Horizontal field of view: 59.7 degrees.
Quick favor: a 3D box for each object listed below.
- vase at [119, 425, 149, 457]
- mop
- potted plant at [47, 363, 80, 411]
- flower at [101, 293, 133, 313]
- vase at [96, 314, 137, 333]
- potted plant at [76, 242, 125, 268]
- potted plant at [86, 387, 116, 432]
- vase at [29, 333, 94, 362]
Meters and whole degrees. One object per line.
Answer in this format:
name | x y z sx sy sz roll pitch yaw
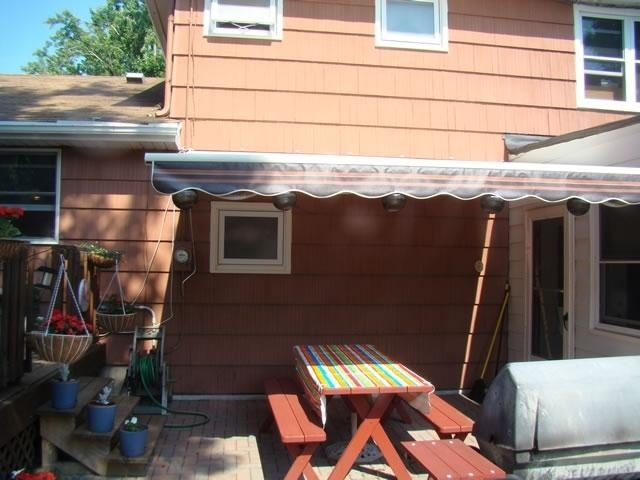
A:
vase | -1.859 2.007 5.544 0.298 0.250 0.300 1 -6 -1
mop | 2.397 1.477 7.819 0.466 1.791 0.463 2 2 -1
potted plant | -2.467 1.432 5.550 0.368 0.640 0.395 2 -4 -19
flower | -2.580 0.816 7.078 0.262 0.131 0.272 3 1 -7
vase | -2.562 1.032 6.943 0.335 0.163 0.346 8 -21 -17
potted plant | -2.748 0.208 6.935 0.494 0.315 0.250 -2 9 -24
potted plant | -2.175 1.678 5.515 0.255 0.421 0.263 -2 9 -24
vase | -2.775 1.175 5.958 0.637 0.396 0.210 1 8 -6
